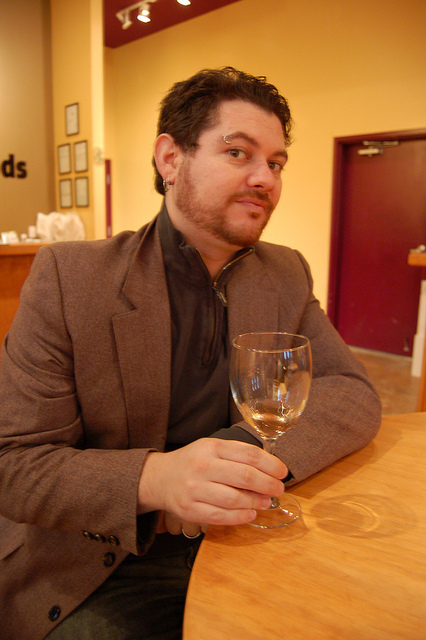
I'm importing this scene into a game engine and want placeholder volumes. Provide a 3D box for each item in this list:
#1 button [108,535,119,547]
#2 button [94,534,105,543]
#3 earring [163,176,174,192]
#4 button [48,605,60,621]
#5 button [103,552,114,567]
[{"bbox_3d":[-0.147,0.321,0.748,0.019,0.020,0.005,8,13,25],"label":"button"},{"bbox_3d":[-0.170,0.327,0.767,0.012,0.016,0.004,29,45,-5],"label":"button"},{"bbox_3d":[-0.105,-0.314,1.194,0.029,0.039,0.012,1,12,16],"label":"earring"},{"bbox_3d":[-0.263,0.479,0.833,0.013,0.004,0.017,10,55,2],"label":"button"},{"bbox_3d":[-0.175,0.401,0.853,0.017,0.022,0.013,12,15,38],"label":"button"}]
